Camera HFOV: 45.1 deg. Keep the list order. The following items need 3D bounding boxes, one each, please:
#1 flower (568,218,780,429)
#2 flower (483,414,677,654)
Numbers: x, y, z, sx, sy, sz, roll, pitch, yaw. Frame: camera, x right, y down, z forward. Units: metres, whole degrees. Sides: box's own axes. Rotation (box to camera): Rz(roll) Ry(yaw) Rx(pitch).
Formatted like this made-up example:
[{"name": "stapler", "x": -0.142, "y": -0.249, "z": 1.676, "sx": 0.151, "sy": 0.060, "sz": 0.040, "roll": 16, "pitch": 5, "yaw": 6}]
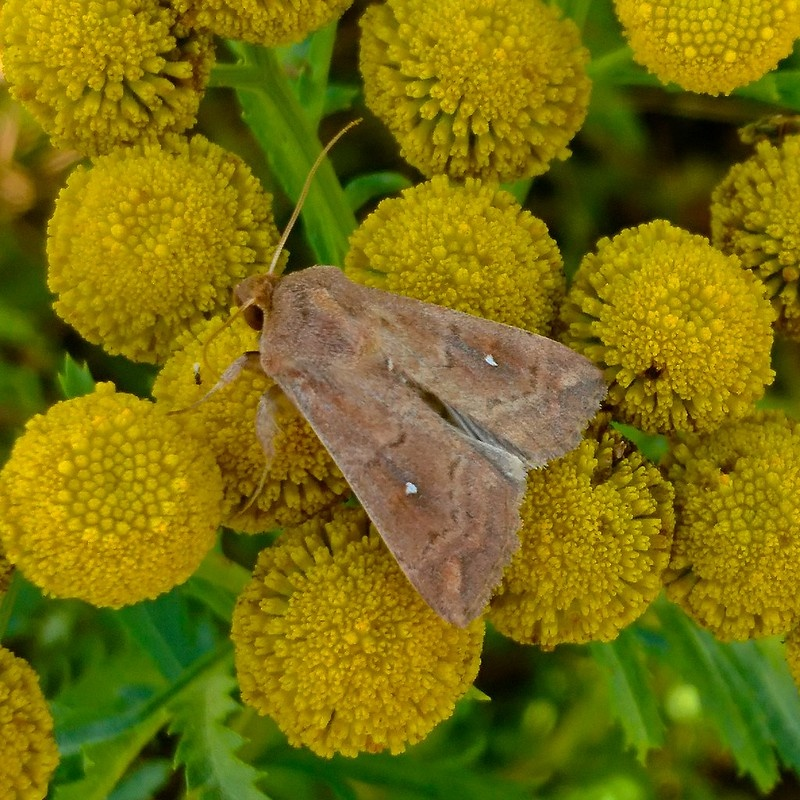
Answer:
[{"name": "flower", "x": 0.430, "y": -0.107, "z": 1.645, "sx": 0.326, "sy": 0.184, "sz": 0.350, "roll": -38, "pitch": 76, "yaw": -1}, {"name": "flower", "x": 0.288, "y": 0.211, "z": 1.497, "sx": 0.315, "sy": 0.161, "sz": 0.309, "roll": 9, "pitch": 81, "yaw": 44}]
